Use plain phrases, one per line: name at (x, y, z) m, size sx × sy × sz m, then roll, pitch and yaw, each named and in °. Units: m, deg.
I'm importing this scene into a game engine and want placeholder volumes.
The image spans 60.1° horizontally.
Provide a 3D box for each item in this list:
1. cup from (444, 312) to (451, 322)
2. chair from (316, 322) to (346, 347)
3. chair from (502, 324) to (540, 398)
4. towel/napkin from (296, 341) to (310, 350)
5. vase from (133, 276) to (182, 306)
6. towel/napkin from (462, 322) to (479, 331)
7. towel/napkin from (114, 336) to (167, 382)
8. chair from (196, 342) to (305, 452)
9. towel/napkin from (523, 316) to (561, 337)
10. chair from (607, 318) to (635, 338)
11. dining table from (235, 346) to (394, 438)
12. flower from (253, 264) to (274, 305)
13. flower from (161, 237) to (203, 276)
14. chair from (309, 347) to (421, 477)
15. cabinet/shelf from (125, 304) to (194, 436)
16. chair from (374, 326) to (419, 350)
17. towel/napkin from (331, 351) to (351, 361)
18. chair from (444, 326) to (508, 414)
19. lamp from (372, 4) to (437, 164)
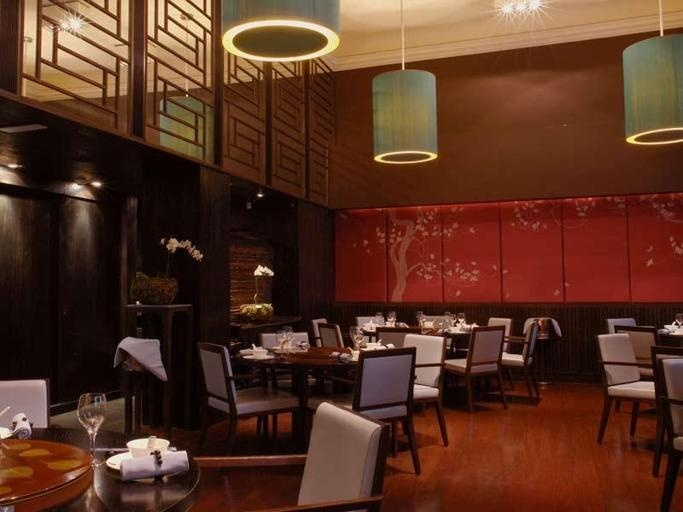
cup at (1.489, 0.855, 8.242) m, size 0.097 × 0.166 × 0.103 m, roll 0°, pitch 3°, yaw 0°
chair at (-0.147, 0.913, 6.769) m, size 0.275 × 0.424 × 0.302 m, roll -1°, pitch 1°, yaw -37°
chair at (2.267, 1.354, 7.748) m, size 0.614 × 1.017 × 0.625 m, roll 0°, pitch -2°, yaw 34°
towel/napkin at (-0.415, 0.963, 6.293) m, size 0.090 × 0.063 × 0.154 m, roll 1°, pitch -6°, yaw -13°
vase at (-1.935, 0.354, 6.122) m, size 0.341 × 0.204 × 0.326 m, roll 2°, pitch -2°, yaw -30°
towel/napkin at (1.726, 0.956, 7.921) m, size 0.205 × 0.065 × 0.210 m, roll -2°, pitch -3°, yaw 44°
towel/napkin at (-1.916, 0.986, 5.684) m, size 0.457 × 0.457 × 0.389 m, roll 1°, pitch -4°, yaw 0°
chair at (-0.913, 1.333, 5.616) m, size 0.746 × 1.043 × 0.820 m, roll -3°, pitch -3°, yaw 45°
towel/napkin at (2.903, 1.000, 8.351) m, size 0.460 × 0.267 × 0.485 m, roll 0°, pitch -1°, yaw 26°
chair at (3.235, 0.836, 6.818) m, size 0.165 × 0.260 × 0.146 m, roll 3°, pitch -8°, yaw -18°
dining table at (-0.402, 1.093, 5.568) m, size 0.927 × 0.714 × 0.961 m, roll 0°, pitch -1°, yaw 37°
flower at (-1.114, 0.420, 8.449) m, size 0.308 × 0.589 × 0.966 m, roll 0°, pitch 1°, yaw -6°
flower at (-1.744, -0.037, 6.363) m, size 0.360 × 0.386 × 0.344 m, roll -22°, pitch 3°, yaw 2°
chair at (0.324, 1.341, 5.199) m, size 0.731 × 1.058 × 0.710 m, roll 0°, pitch -3°, yaw -39°
cabinet/shelf at (-1.972, 0.936, 6.097) m, size 0.457 × 0.853 × 0.485 m, roll -1°, pitch 2°, yaw 16°
chair at (0.554, 0.943, 6.260) m, size 0.352 × 0.249 × 0.201 m, roll -3°, pitch -10°, yaw 27°
towel/napkin at (0.018, 0.928, 5.413) m, size 0.102 × 0.089 × 0.037 m, roll -19°, pitch -7°, yaw 43°
chair at (1.601, 1.312, 7.204) m, size 0.560 × 0.947 × 0.635 m, roll 1°, pitch 0°, yaw -28°
lamp at (0.731, -1.617, 6.772) m, size 0.708 × 0.982 × 0.529 m, roll 0°, pitch 2°, yaw 5°
